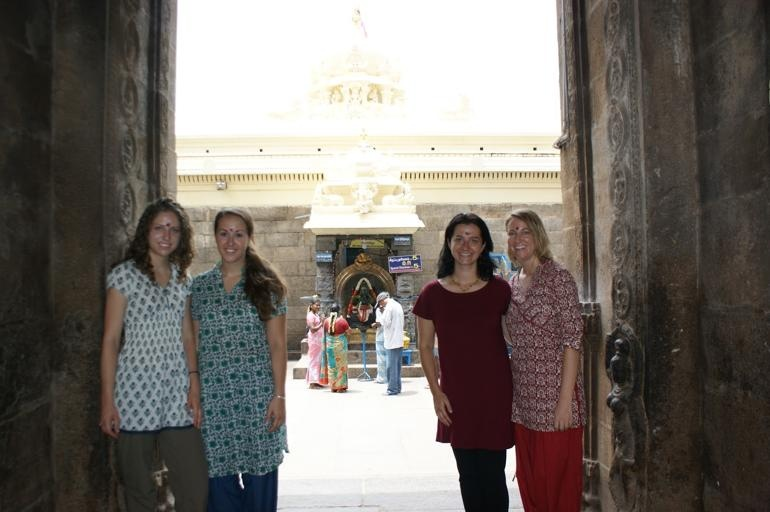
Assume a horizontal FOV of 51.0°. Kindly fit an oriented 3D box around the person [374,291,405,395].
[{"bbox_3d":[0.046,1.269,11.221,0.472,1.447,0.558,-13,-34,20],"label":"person"}]

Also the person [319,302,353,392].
[{"bbox_3d":[-0.720,1.263,11.073,0.386,1.142,0.658,-1,1,-4],"label":"person"}]

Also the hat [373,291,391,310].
[{"bbox_3d":[-0.083,0.655,11.572,0.253,0.195,0.192,-22,25,4],"label":"hat"}]
